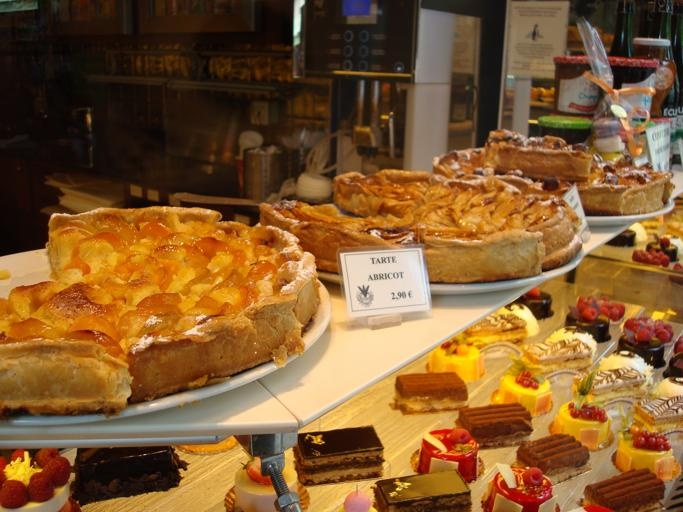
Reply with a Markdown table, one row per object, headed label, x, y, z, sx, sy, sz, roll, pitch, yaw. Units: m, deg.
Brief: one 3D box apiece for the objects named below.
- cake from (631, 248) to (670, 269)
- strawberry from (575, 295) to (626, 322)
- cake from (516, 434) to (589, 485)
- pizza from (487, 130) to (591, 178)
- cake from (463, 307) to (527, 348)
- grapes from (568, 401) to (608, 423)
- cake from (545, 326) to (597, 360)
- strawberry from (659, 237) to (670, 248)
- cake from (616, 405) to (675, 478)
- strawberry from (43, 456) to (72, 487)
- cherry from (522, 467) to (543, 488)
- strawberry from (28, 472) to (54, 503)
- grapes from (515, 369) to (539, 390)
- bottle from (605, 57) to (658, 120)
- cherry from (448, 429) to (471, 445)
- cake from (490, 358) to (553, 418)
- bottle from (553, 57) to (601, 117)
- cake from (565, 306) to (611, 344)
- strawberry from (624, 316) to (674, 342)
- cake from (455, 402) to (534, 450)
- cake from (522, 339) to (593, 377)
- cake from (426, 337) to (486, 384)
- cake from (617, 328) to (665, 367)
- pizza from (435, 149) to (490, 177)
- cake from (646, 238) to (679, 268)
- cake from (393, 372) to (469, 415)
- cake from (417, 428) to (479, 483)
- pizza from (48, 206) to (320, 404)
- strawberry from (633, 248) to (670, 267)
| label | x | y | z | sx | sy | sz | roll | pitch | yaw |
| --- | --- | --- | --- | --- | --- | --- | --- | --- | --- |
| cake | 1.582 | 0.017 | 2.709 | 0.127 | 0.054 | 0.128 | 6 | 9 | 25 |
| strawberry | 1.236 | 0.255 | 2.526 | 0.160 | 0.071 | 0.201 | -4 | 4 | -30 |
| cake | 0.753 | 0.708 | 1.880 | 0.207 | 0.099 | 0.163 | -6 | 20 | -27 |
| pizza | 0.855 | -0.416 | 2.329 | 0.402 | 0.138 | 0.243 | 10 | 24 | 24 |
| cake | 0.640 | 0.277 | 2.239 | 0.260 | 0.080 | 0.199 | -9 | 12 | -31 |
| grapes | 0.937 | 0.575 | 1.997 | 0.095 | 0.031 | 0.095 | 2 | 2 | -20 |
| cake | 1.026 | 0.377 | 2.356 | 0.159 | 0.088 | 0.155 | 9 | 0 | 6 |
| strawberry | 1.733 | -0.068 | 2.835 | 0.055 | 0.062 | 0.051 | -9 | 9 | -15 |
| cake | 1.184 | 0.718 | 2.056 | 0.221 | 0.146 | 0.238 | 6 | 12 | 35 |
| strawberry | -0.856 | 0.649 | 1.595 | 0.067 | 0.069 | 0.088 | -4 | -2 | -5 |
| cherry | 0.616 | 0.710 | 1.706 | 0.056 | 0.055 | 0.020 | -6 | -8 | -20 |
| strawberry | -0.883 | 0.680 | 1.551 | 0.062 | 0.080 | 0.063 | -10 | -4 | -9 |
| grapes | 0.717 | 0.481 | 2.041 | 0.078 | 0.031 | 0.078 | -5 | 33 | -27 |
| bottle | 1.405 | -0.818 | 2.531 | 0.230 | 0.251 | 0.218 | -2 | 16 | -4 |
| cherry | 0.396 | 0.612 | 1.785 | 0.050 | 0.049 | 0.050 | -15 | -8 | 6 |
| cake | 0.709 | 0.515 | 2.119 | 0.227 | 0.135 | 0.223 | -3 | 16 | -9 |
| bottle | 1.125 | -0.816 | 2.568 | 0.142 | 0.271 | 0.214 | -12 | 19 | -33 |
| cake | 1.146 | 0.322 | 2.447 | 0.190 | 0.094 | 0.188 | 9 | 18 | 21 |
| strawberry | 1.435 | 0.348 | 2.496 | 0.153 | 0.071 | 0.199 | 17 | 16 | 36 |
| cake | 0.573 | 0.618 | 1.941 | 0.216 | 0.076 | 0.151 | -3 | 22 | -12 |
| cake | 0.933 | 0.423 | 2.306 | 0.280 | 0.098 | 0.157 | -6 | 18 | -14 |
| cake | 0.454 | 0.405 | 2.149 | 0.237 | 0.142 | 0.234 | -1 | 8 | -5 |
| cake | 1.372 | 0.439 | 2.481 | 0.178 | 0.116 | 0.177 | -7 | 17 | -28 |
| pizza | 0.525 | -0.398 | 2.365 | 0.240 | 0.084 | 0.231 | -3 | 25 | 2 |
| cake | 1.731 | -0.033 | 2.840 | 0.165 | 0.155 | 0.163 | 5 | 13 | 29 |
| cake | 0.327 | 0.495 | 1.953 | 0.210 | 0.068 | 0.149 | -3 | 20 | -6 |
| cake | 0.350 | 0.654 | 1.799 | 0.187 | 0.114 | 0.186 | -11 | 17 | -34 |
| pizza | -0.301 | 0.062 | 1.191 | 0.418 | 0.134 | 0.607 | -6 | 21 | -31 |
| strawberry | 1.580 | 0.015 | 2.707 | 0.121 | 0.052 | 0.123 | 8 | 7 | 42 |
